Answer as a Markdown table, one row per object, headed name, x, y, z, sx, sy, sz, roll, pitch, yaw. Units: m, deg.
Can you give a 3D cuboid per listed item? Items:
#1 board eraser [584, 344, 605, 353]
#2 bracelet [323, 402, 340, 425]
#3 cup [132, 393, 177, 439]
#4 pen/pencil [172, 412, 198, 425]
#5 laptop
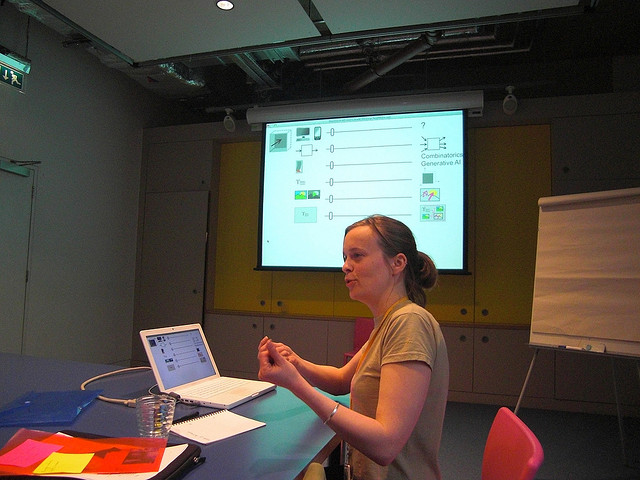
| name | x | y | z | sx | sy | sz | roll | pitch | yaw |
| --- | --- | --- | --- | --- | --- | --- | --- | --- | --- |
| board eraser | 1.977 | 0.781 | 3.534 | 0.138 | 0.057 | 0.024 | 0 | 0 | 34 |
| bracelet | 0.051 | 0.749 | 2.125 | 0.017 | 0.071 | 0.067 | 29 | 31 | -1 |
| cup | -0.722 | 0.768 | 2.160 | 0.157 | 0.194 | 0.174 | 0 | -15 | -3 |
| pen/pencil | -0.641 | 0.850 | 2.337 | 0.101 | 0.026 | 0.021 | -19 | 49 | -15 |
| laptop | -0.614 | 0.576 | 2.614 | 0.464 | 0.322 | 0.478 | 0 | -4 | 25 |
